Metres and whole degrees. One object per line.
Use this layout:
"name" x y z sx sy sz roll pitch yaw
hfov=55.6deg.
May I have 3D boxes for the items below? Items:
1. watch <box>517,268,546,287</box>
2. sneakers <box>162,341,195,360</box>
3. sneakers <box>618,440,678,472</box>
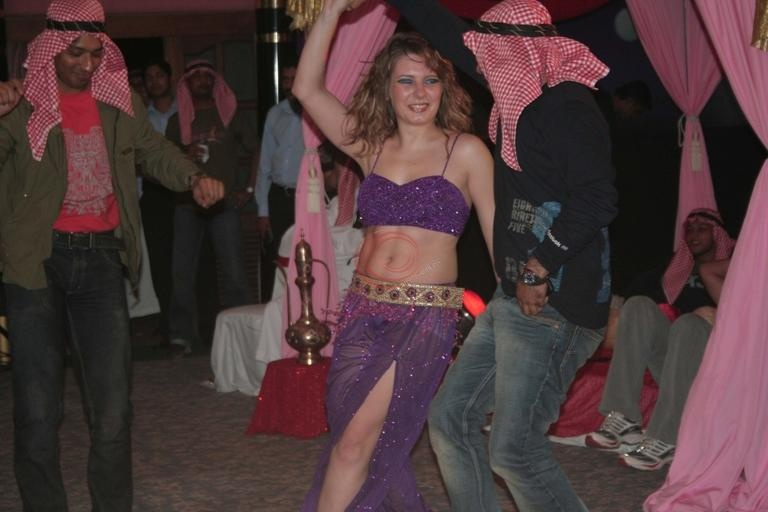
"watch" 0.654 0.102 3.195 0.090 0.048 0.068 13 -14 7
"sneakers" -2.031 0.938 7.278 0.130 0.154 0.361 1 -10 2
"sneakers" 1.718 1.281 4.702 0.379 0.158 0.155 0 -2 -17
